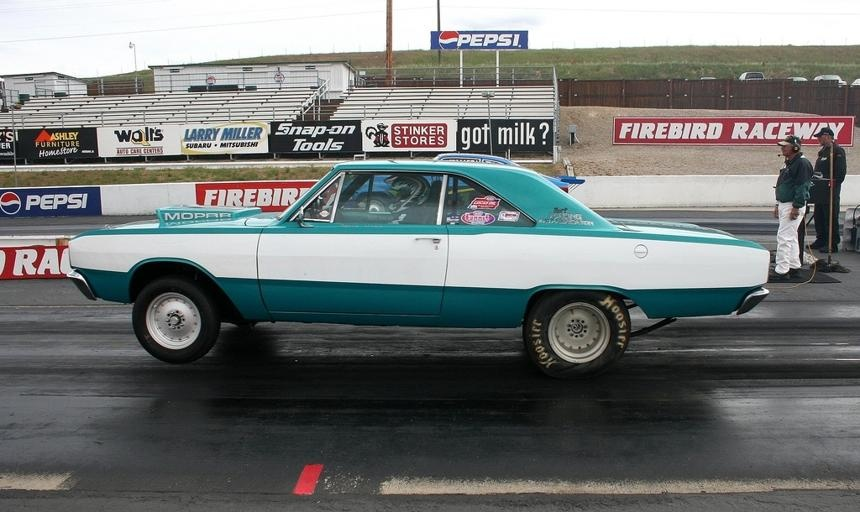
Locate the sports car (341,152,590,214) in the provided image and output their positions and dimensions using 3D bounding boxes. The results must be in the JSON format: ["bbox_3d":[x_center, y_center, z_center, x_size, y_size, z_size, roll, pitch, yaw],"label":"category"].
[{"bbox_3d":[1.606,-1.837,25.158,4.509,0.954,1.666,0,13,0],"label":"sports car"}]
